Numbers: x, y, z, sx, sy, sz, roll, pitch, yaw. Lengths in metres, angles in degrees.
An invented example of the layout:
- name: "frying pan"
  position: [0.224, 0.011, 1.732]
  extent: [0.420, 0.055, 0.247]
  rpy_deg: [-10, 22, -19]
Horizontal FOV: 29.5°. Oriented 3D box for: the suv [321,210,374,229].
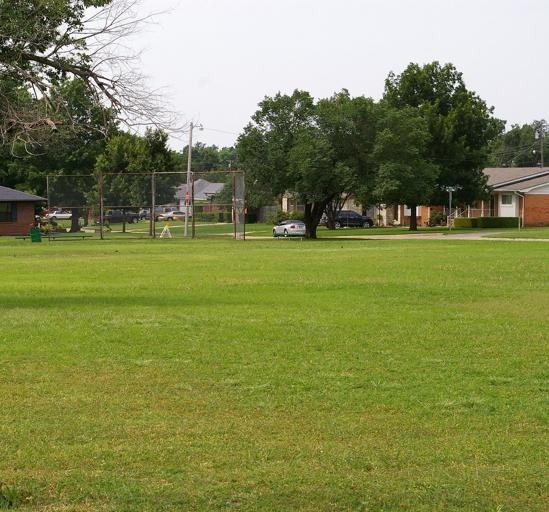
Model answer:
- name: "suv"
  position: [5.120, -2.508, 72.651]
  extent: [3.130, 1.165, 1.408]
  rpy_deg: [-3, 5, -9]
